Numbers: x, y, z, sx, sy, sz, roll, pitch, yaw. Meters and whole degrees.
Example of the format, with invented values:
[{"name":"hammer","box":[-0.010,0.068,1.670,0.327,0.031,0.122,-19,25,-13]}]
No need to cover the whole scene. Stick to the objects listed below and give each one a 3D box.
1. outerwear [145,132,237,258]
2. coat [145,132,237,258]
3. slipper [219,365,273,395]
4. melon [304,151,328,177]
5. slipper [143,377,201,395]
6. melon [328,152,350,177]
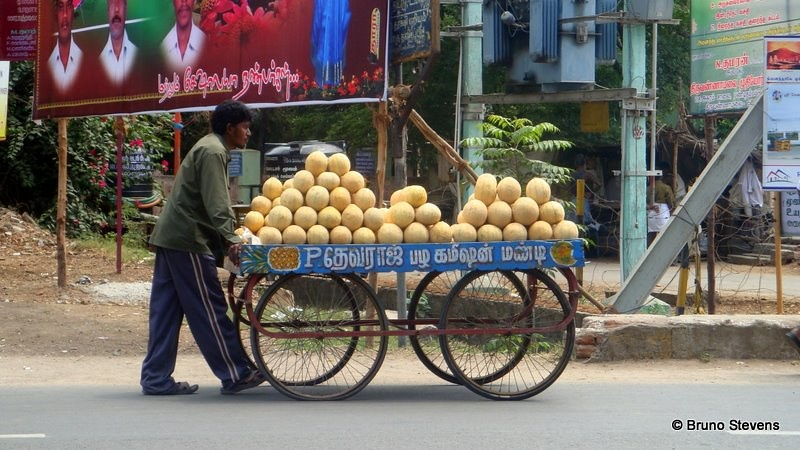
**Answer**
[{"name":"outerwear","box":[-3.424,-0.370,19.875,1.700,2.187,2.311,5,6,-18]},{"name":"coat","box":[-3.300,-0.415,19.937,1.700,2.187,2.311,5,6,-18]},{"name":"slipper","box":[-2.494,2.617,19.354,0.934,0.416,0.310,-4,0,0]},{"name":"melon","box":[-1.373,-1.035,19.350,0.381,0.452,0.379,-2,6,-12]},{"name":"slipper","box":[-3.794,2.646,19.292,0.830,0.222,0.319,-1,-1,-16]},{"name":"melon","box":[-1.010,-1.051,19.459,0.355,0.410,0.357,12,22,43]}]
